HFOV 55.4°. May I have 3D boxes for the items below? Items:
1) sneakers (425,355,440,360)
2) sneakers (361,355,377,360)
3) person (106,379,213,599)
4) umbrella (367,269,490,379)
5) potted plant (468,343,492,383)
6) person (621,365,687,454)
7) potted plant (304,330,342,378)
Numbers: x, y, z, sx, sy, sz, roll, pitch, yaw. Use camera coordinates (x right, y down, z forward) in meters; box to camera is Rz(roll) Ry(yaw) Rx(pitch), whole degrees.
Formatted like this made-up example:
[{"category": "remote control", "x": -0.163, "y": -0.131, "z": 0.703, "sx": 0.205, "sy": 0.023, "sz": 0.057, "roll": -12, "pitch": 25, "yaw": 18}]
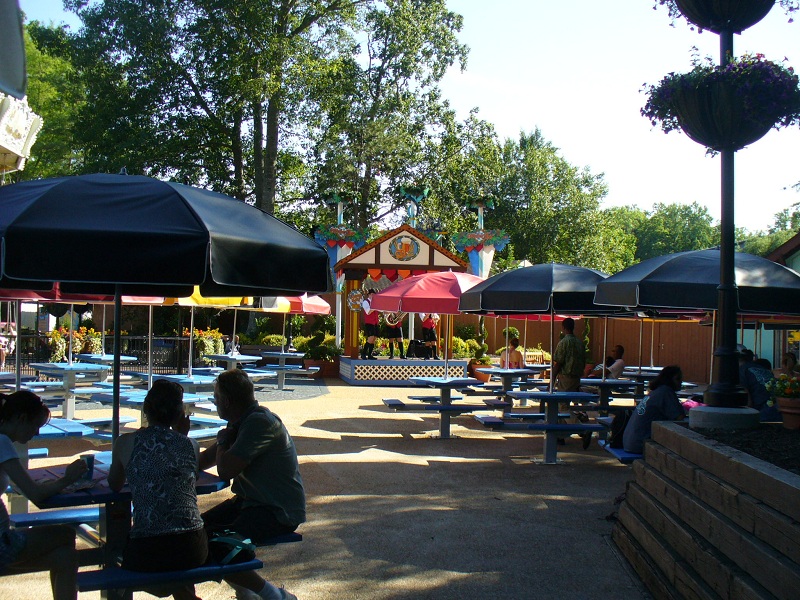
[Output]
[{"category": "sneakers", "x": 1.034, "y": 1.905, "z": 24.920, "sx": 0.219, "sy": 0.167, "sz": 0.534, "roll": -3, "pitch": -6, "yaw": -16}, {"category": "sneakers", "x": -1.000, "y": 1.832, "z": 24.395, "sx": 0.522, "sy": 0.174, "sz": 0.229, "roll": -5, "pitch": -20, "yaw": 6}, {"category": "person", "x": -1.624, "y": 1.176, "z": 5.139, "sx": 0.636, "sy": 1.236, "sz": 0.336, "roll": 0, "pitch": -2, "yaw": -12}, {"category": "umbrella", "x": 0.557, "y": 0.418, "z": 13.733, "sx": 1.815, "sy": 1.616, "sz": 1.863, "roll": 3, "pitch": 4, "yaw": 30}, {"category": "potted plant", "x": 2.586, "y": 2.152, "z": 25.152, "sx": 1.159, "sy": 1.219, "sz": 1.107, "roll": -1, "pitch": -2, "yaw": 11}, {"category": "person", "x": 2.895, "y": 1.242, "z": 8.619, "sx": 0.630, "sy": 0.952, "sz": 0.863, "roll": -3, "pitch": -4, "yaw": 44}, {"category": "potted plant", "x": -2.664, "y": 1.957, "z": 26.572, "sx": 1.209, "sy": 1.788, "sz": 1.398, "roll": 0, "pitch": 2, "yaw": 0}]
